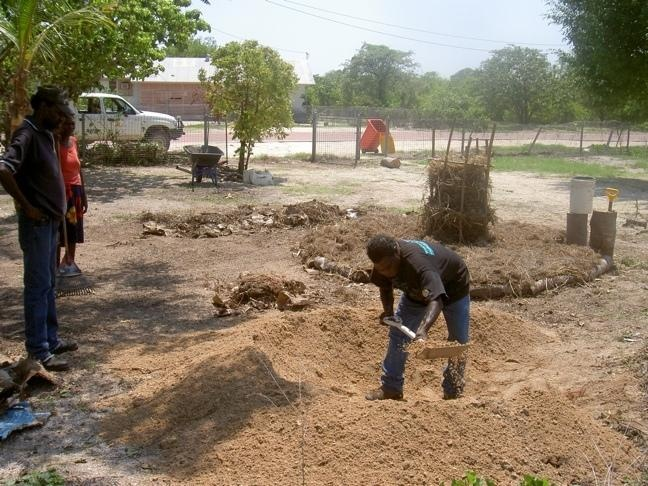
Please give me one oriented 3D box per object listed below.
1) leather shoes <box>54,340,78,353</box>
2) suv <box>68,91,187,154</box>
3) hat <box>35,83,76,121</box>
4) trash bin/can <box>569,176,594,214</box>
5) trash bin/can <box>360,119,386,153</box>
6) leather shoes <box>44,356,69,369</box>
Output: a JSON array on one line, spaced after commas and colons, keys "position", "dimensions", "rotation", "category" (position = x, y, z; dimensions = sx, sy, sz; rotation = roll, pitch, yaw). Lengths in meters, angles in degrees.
[{"position": [-2.779, 1.114, 6.515], "dimensions": [0.236, 0.103, 0.084], "rotation": [-15, 21, -31], "category": "leather shoes"}, {"position": [-6.386, -3.952, 19.516], "dimensions": [3.232, 1.494, 1.570], "rotation": [-6, 16, -21], "category": "suv"}, {"position": [-2.729, -1.442, 6.165], "dimensions": [0.376, 0.211, 0.267], "rotation": [9, 26, -37], "category": "hat"}, {"position": [4.393, -0.782, 10.251], "dimensions": [0.370, 0.597, 0.533], "rotation": [6, 11, 21], "category": "trash bin/can"}, {"position": [2.052, -4.507, 25.510], "dimensions": [0.933, 1.380, 0.895], "rotation": [2, 10, 1], "category": "trash bin/can"}, {"position": [-2.760, 1.227, 6.217], "dimensions": [0.211, 0.096, 0.110], "rotation": [0, 13, -6], "category": "leather shoes"}]
